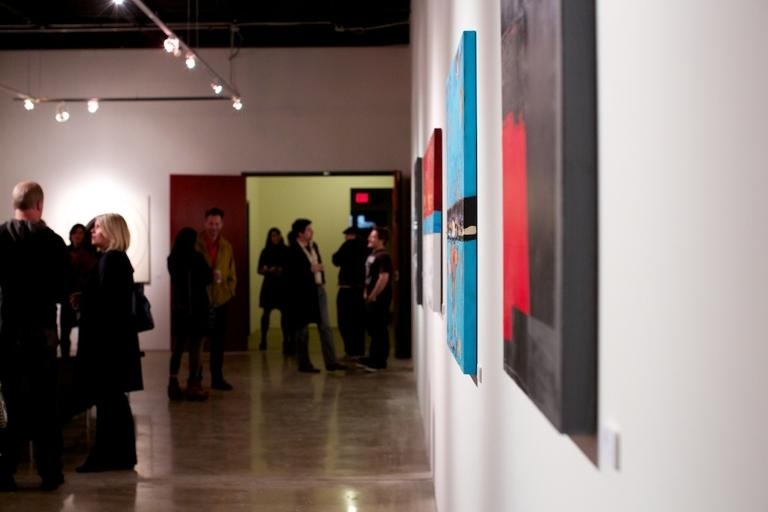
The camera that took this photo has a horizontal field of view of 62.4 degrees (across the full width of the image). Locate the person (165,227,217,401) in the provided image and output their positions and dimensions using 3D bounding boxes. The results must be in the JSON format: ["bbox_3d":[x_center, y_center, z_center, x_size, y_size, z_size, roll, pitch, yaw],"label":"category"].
[{"bbox_3d":[-1.817,0.535,5.889,0.433,1.584,0.385,-1,0,44],"label":"person"}]

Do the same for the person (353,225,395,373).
[{"bbox_3d":[-0.092,0.500,6.947,0.296,1.600,0.684,0,0,-3],"label":"person"}]

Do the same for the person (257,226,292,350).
[{"bbox_3d":[-1.370,0.466,7.961,0.436,1.677,2.240,0,1,-11],"label":"person"}]

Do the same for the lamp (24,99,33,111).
[{"bbox_3d":[-4.399,-1.876,7.809,0.071,0.153,0.345,0,1,-34],"label":"lamp"}]

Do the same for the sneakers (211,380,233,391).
[{"bbox_3d":[-1.605,1.279,6.291,0.239,0.127,0.084,0,0,-4],"label":"sneakers"}]

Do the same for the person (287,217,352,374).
[{"bbox_3d":[-0.786,0.434,7.149,0.621,1.729,0.738,0,0,-3],"label":"person"}]

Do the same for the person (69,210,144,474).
[{"bbox_3d":[-1.810,0.552,4.154,0.385,1.657,0.257,0,0,-26],"label":"person"}]

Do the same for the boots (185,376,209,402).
[{"bbox_3d":[-1.789,1.219,5.874,0.269,0.281,0.149,-1,2,-23],"label":"boots"}]

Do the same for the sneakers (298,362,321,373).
[{"bbox_3d":[-0.870,1.246,7.119,0.296,0.188,0.101,0,-3,-2],"label":"sneakers"}]
